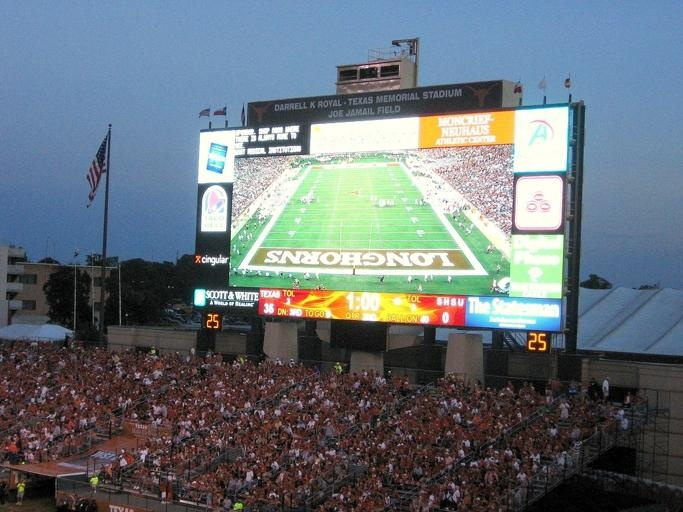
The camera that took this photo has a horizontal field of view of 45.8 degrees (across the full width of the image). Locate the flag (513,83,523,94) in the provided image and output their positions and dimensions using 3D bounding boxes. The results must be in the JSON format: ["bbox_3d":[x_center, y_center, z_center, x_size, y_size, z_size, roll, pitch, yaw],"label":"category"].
[{"bbox_3d":[9.798,-9.368,44.865,0.391,0.571,0.547,1,-6,7],"label":"flag"}]
